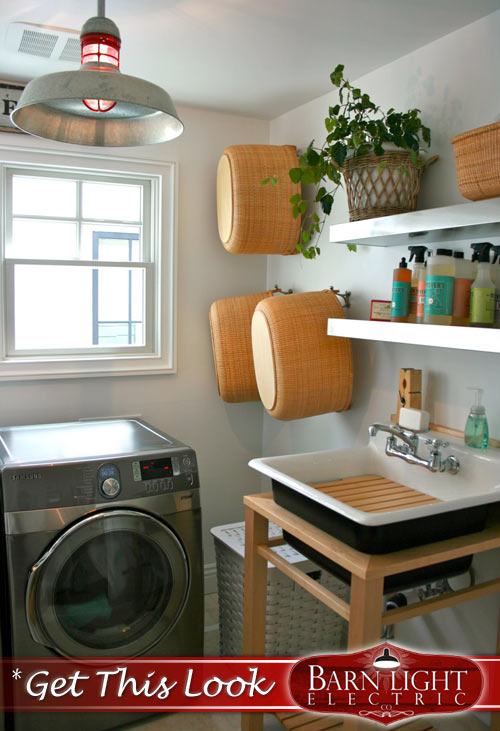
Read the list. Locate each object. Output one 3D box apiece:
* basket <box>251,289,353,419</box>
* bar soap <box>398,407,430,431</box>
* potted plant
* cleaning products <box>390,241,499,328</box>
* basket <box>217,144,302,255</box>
[{"bbox_3d":[0.191,-0.026,2.058,0.386,0.476,0.307,0,8,8],"label":"basket"},{"bbox_3d":[0.483,0.162,1.650,0.060,0.074,0.109,-3,8,-27],"label":"bar soap"},{"bbox_3d":[0.337,-0.628,1.726,0.317,0.347,0.473,-21,13,-40],"label":"potted plant"},{"bbox_3d":[0.525,-0.188,1.393,0.245,0.252,0.138,3,-4,-40],"label":"cleaning products"},{"bbox_3d":[0.034,-0.743,2.550,0.406,0.388,0.556,0,12,0],"label":"basket"}]
